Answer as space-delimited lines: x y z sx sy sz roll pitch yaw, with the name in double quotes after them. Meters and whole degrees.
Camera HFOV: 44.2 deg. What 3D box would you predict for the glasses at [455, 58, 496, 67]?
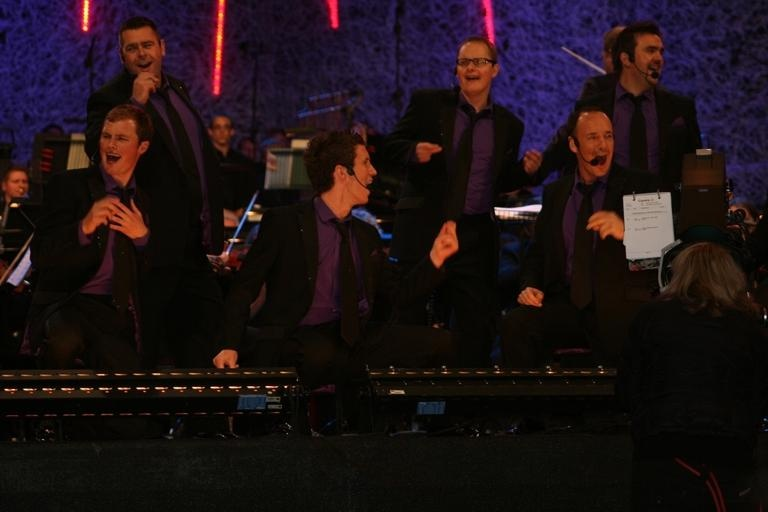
0.593 -1.254 6.111 0.233 0.057 0.069 0 13 4 "glasses"
